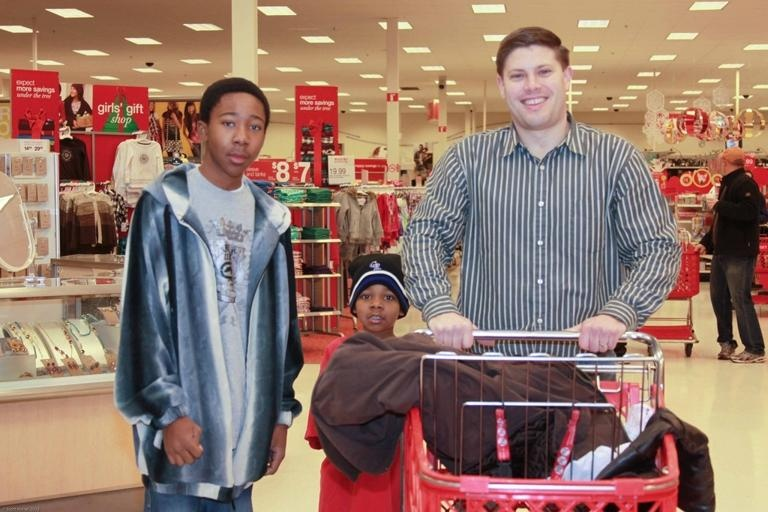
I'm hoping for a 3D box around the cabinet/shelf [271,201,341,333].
[{"bbox_3d":[-1.037,0.032,9.138,0.826,1.442,0.778,-3,-8,-38],"label":"cabinet/shelf"}]

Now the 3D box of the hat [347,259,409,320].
[{"bbox_3d":[-0.031,0.150,3.945,0.339,0.345,0.386,1,-19,-17],"label":"hat"}]

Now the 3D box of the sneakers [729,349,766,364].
[{"bbox_3d":[3.926,1.095,7.652,0.323,0.153,0.152,3,-3,4],"label":"sneakers"}]

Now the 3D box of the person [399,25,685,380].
[{"bbox_3d":[0.623,0.038,2.803,1.006,1.752,0.897,3,17,22],"label":"person"}]

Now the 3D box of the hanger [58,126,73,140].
[{"bbox_3d":[-4.746,-1.853,10.555,0.184,0.219,0.317,-3,4,-25],"label":"hanger"}]

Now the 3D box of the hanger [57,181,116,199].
[{"bbox_3d":[-4.115,-0.939,9.766,0.472,0.152,0.361,3,3,-14],"label":"hanger"}]

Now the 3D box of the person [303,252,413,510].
[{"bbox_3d":[-0.117,0.655,3.611,0.510,1.305,1.211,-1,3,1],"label":"person"}]

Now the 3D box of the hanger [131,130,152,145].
[{"bbox_3d":[-3.386,-1.659,9.912,0.242,0.107,0.310,2,15,-11],"label":"hanger"}]
